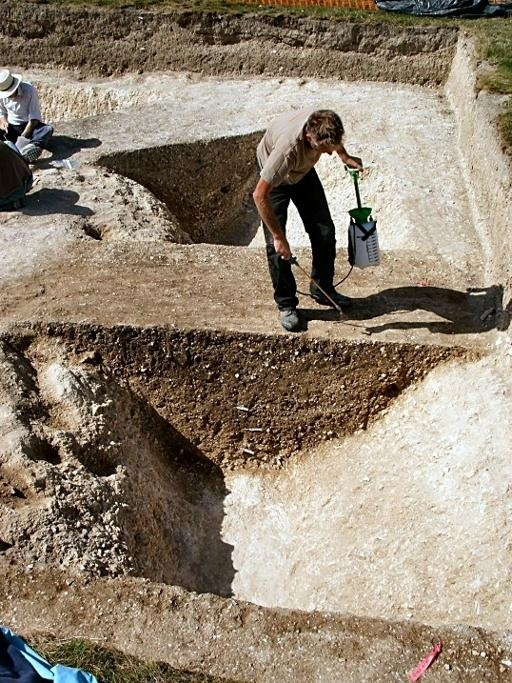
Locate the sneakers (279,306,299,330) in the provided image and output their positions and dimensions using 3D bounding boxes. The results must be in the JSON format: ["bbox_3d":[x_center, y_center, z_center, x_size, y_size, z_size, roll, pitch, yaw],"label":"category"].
[{"bbox_3d":[0.257,-0.170,7.938,0.089,0.086,0.195,-6,28,-11],"label":"sneakers"}]

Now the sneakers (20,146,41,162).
[{"bbox_3d":[-2.170,-1.798,10.185,0.214,0.088,0.095,-2,28,-27],"label":"sneakers"}]

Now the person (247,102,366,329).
[{"bbox_3d":[0.365,-0.821,7.486,0.677,1.775,0.686,0,42,5],"label":"person"}]
